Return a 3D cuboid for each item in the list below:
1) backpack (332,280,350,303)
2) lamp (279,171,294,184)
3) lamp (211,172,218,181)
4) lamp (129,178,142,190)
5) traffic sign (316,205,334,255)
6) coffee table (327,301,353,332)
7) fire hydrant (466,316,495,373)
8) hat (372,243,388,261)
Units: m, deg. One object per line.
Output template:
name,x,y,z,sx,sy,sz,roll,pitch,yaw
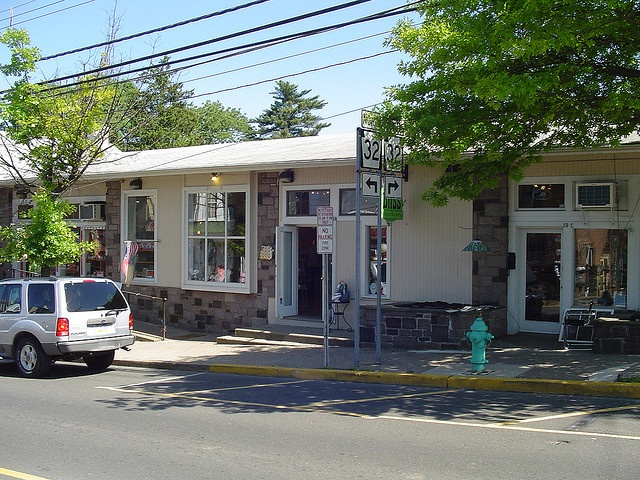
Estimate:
backpack,0.575,1.404,18.753,0.628,0.546,0.433,1,0,-13
lamp,-0.996,-1.800,19.859,0.374,0.330,0.354,5,5,29
lamp,-3.244,-1.940,21.314,0.095,0.232,0.334,-7,6,-39
lamp,-6.095,-1.860,22.974,0.503,0.371,0.198,1,6,38
traffic sign,0.093,-0.198,14.435,0.339,0.973,0.187,-3,5,-8
coffee table,0.455,2.071,18.992,0.805,0.794,0.824,-1,-2,12
fire hydrant,3.158,2.059,13.886,0.504,1.016,0.709,-2,5,11
hat,1.576,0.305,18.736,0.434,0.488,0.438,1,-16,-1
